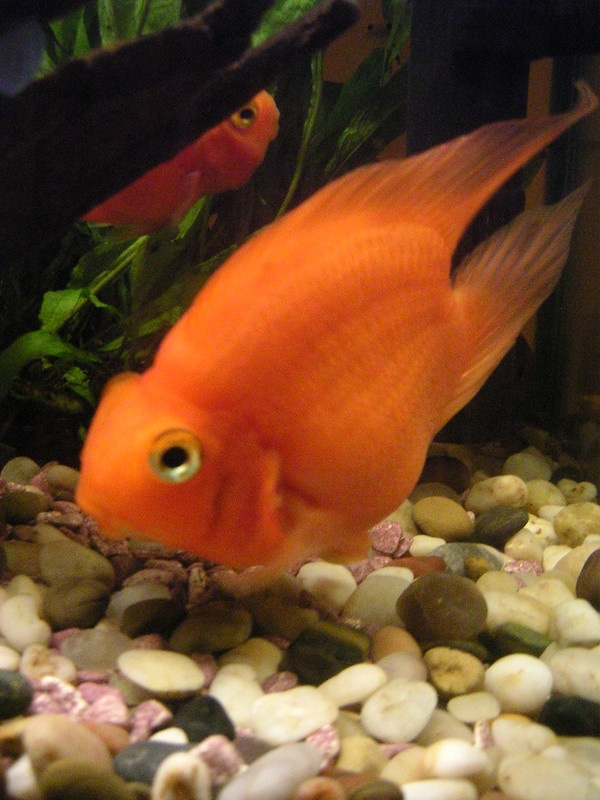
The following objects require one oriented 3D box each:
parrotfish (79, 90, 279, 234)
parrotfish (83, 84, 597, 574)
[{"bbox_3d":[-0.098,-0.210,0.676,0.167,0.117,0.033,-10,24,-24],"label":"parrotfish"},{"bbox_3d":[-0.087,-0.126,0.846,0.552,0.418,0.569,13,28,30],"label":"parrotfish"}]
